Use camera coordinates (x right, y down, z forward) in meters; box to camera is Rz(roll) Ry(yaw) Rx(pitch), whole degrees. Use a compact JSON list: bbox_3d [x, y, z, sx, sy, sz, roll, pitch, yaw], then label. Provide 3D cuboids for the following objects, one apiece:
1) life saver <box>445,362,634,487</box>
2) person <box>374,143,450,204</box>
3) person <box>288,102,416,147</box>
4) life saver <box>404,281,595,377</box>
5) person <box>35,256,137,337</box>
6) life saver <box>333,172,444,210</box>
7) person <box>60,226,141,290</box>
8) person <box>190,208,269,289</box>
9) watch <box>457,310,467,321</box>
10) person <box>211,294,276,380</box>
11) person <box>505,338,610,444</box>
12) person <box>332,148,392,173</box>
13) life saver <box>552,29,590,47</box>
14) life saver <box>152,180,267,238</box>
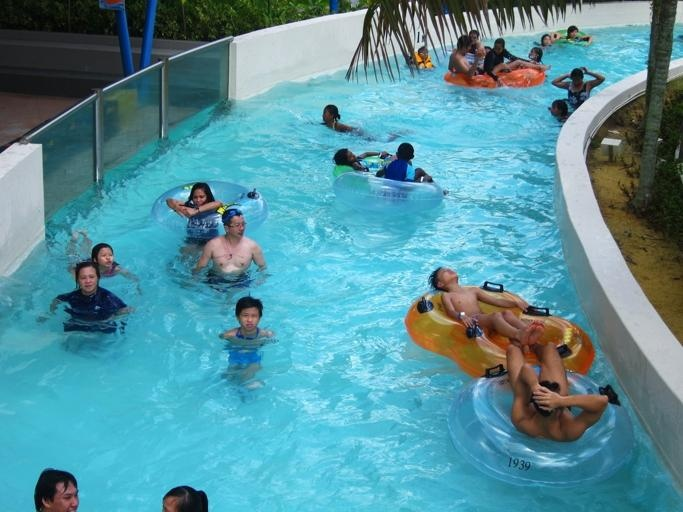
[{"bbox_3d":[1.661,1.321,4.322,1.030,0.236,0.961,-11,25,-21],"label":"life saver"},{"bbox_3d":[1.119,-1.426,8.905,0.613,0.798,1.167,12,28,32],"label":"person"},{"bbox_3d":[0.451,-2.554,10.997,1.779,0.587,0.896,8,20,-3],"label":"person"},{"bbox_3d":[1.472,0.812,5.529,1.543,0.422,0.963,17,35,32],"label":"life saver"},{"bbox_3d":[-2.593,0.422,5.700,0.698,0.790,0.331,-9,26,-17],"label":"person"},{"bbox_3d":[0.683,-0.957,8.378,1.626,0.537,0.367,1,24,4],"label":"life saver"},{"bbox_3d":[-2.960,0.079,6.301,1.008,0.387,0.536,14,5,14],"label":"person"},{"bbox_3d":[-1.354,0.213,6.732,0.905,1.563,0.476,5,31,-6],"label":"person"},{"bbox_3d":[1.223,0.615,5.661,0.061,0.073,0.086,5,5,8],"label":"watch"},{"bbox_3d":[-0.935,0.784,5.538,0.524,0.786,0.533,-6,24,-10],"label":"person"},{"bbox_3d":[1.903,1.057,4.467,0.625,0.638,1.149,-1,1,15],"label":"person"},{"bbox_3d":[0.342,-1.551,9.208,0.775,0.271,0.545,0,9,-12],"label":"person"},{"bbox_3d":[7.241,-6.738,17.353,1.236,0.330,1.135,6,17,1],"label":"life saver"},{"bbox_3d":[-1.797,-0.720,7.612,1.101,0.247,1.022,-7,25,-26],"label":"life saver"}]
